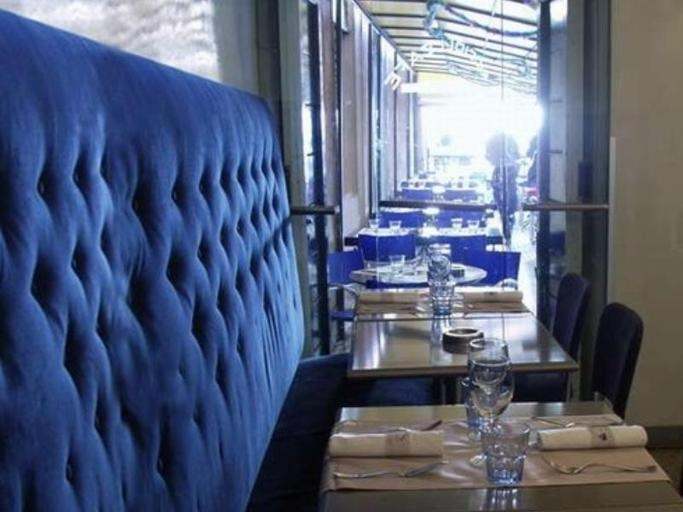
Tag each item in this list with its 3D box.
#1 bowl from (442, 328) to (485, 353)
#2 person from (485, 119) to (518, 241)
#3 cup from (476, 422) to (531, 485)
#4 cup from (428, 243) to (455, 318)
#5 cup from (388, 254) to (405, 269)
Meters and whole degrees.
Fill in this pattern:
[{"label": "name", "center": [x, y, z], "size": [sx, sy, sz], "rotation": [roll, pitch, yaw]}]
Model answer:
[{"label": "bowl", "center": [0.439, 0.317, 2.493], "size": [0.105, 0.042, 0.103], "rotation": [-2, 1, 0]}, {"label": "person", "center": [1.248, -0.595, 5.195], "size": [0.209, 0.967, 0.241], "rotation": [-2, 8, 29]}, {"label": "cup", "center": [0.386, 0.469, 1.576], "size": [0.112, 0.145, 0.122], "rotation": [-1, -7, 0]}, {"label": "cup", "center": [0.449, 0.128, 3.020], "size": [0.118, 0.365, 0.134], "rotation": [-11, -37, 20]}, {"label": "cup", "center": [0.347, 0.034, 4.052], "size": [0.081, 0.074, 0.088], "rotation": [0, -4, 0]}]
